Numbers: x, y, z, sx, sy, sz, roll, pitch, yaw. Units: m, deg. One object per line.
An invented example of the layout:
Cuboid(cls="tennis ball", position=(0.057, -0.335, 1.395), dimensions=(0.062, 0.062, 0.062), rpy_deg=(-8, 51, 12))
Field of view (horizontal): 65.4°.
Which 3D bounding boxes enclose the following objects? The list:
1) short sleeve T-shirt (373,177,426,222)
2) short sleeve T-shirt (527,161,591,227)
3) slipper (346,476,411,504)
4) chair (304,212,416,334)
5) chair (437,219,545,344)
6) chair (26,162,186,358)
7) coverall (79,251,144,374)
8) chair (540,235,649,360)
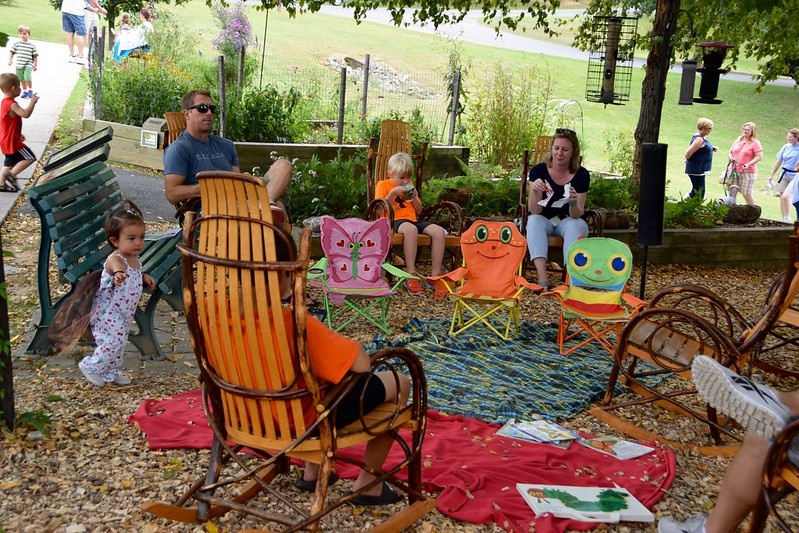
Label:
Cuboid(cls="short sleeve T-shirt", position=(0.026, -0.705, 7.450), dimensions=(0.694, 0.656, 0.441), rpy_deg=(-8, 7, -35))
Cuboid(cls="short sleeve T-shirt", position=(1.862, -0.872, 7.456), dimensions=(0.661, 0.640, 0.238), rpy_deg=(1, 4, -5))
Cuboid(cls="slipper", position=(-0.112, 1.377, 3.793), dimensions=(0.286, 0.109, 0.125), rpy_deg=(-4, 4, -20))
Cuboid(cls="chair", position=(-0.436, 0.100, 5.839), dimensions=(1.028, 0.996, 0.885), rpy_deg=(-8, 16, -43))
Cuboid(cls="chair", position=(0.900, 0.151, 6.239), dimensions=(1.045, 1.047, 0.760), rpy_deg=(5, 14, 16))
Cuboid(cls="chair", position=(-2.484, 0.004, 5.208), dimensions=(1.128, 1.276, 1.929), rpy_deg=(2, 13, -1))
Cuboid(cls="coverall", position=(-2.207, 0.385, 4.769), dimensions=(0.338, 0.956, 0.473), rpy_deg=(4, 16, 5))
Cuboid(cls="chair", position=(1.971, 0.356, 5.993), dimensions=(0.947, 1.076, 0.857), rpy_deg=(12, 15, 33))
